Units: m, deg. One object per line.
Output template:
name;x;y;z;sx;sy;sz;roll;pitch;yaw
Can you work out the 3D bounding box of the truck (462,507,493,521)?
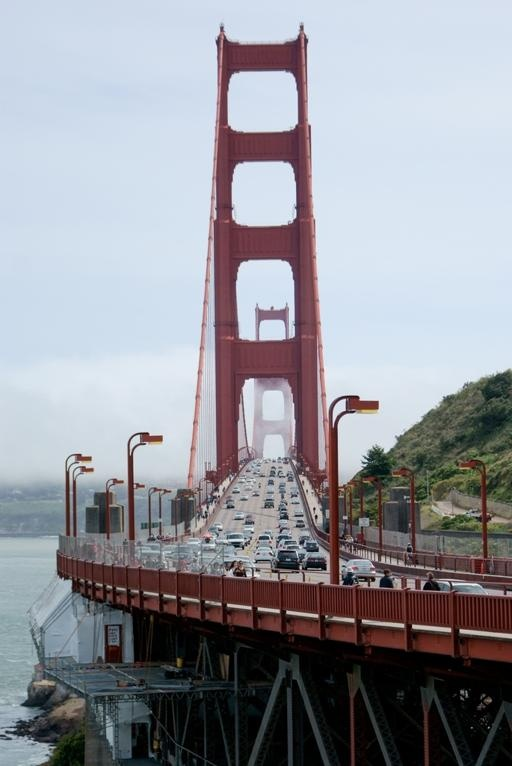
truck;15.390;9.412;85.623;1.699;0.892;1.086;5;0;14
